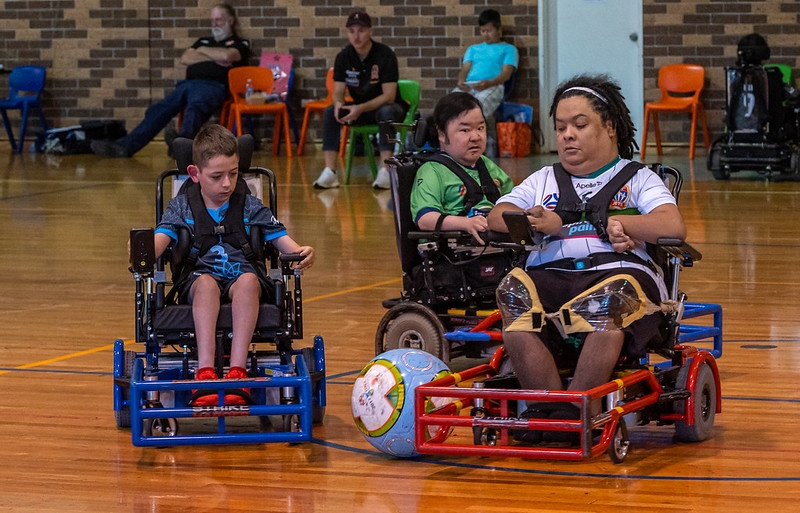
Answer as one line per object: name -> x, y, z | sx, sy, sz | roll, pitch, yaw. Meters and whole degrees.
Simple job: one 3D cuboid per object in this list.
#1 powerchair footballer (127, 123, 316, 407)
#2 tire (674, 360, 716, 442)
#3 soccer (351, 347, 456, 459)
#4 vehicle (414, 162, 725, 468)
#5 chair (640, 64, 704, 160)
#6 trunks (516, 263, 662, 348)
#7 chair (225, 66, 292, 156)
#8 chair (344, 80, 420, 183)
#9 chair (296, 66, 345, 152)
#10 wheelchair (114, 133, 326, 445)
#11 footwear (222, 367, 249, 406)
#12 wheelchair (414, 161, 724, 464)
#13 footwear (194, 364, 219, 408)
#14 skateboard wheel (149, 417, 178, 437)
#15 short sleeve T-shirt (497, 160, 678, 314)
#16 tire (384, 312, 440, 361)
powerchair footballer -> -0.894, 0.010, 5.403 | 0.914, 1.256, 0.802 | -1, 3, -17
tire -> 1.430, 0.702, 5.205 | 0.140, 0.398, 0.456 | -1, -10, 30
soccer -> 0.019, 0.711, 5.009 | 0.340, 0.302, 0.369 | 31, -51, -23
vehicle -> 0.890, 0.427, 5.460 | 1.181, 1.175, 1.701 | -2, -2, 27
chair -> 3.643, -1.936, 14.061 | 0.954, 1.078, 0.891 | -17, 19, -37
trunks -> 0.886, 0.221, 5.027 | 0.821, 0.481, 0.345 | -1, 2, 12
chair -> -2.036, -2.028, 14.838 | 0.885, 1.126, 0.798 | -3, 17, 7
chair -> -0.417, -1.497, 12.778 | 0.768, 0.842, 0.753 | 24, 15, 38
chair -> -1.257, -2.088, 15.169 | 0.843, 0.964, 0.757 | -9, 17, 0
wheelchair -> -0.928, 0.116, 5.426 | 1.064, 1.596, 0.953 | -1, 2, -3
footwear -> -0.796, 0.623, 5.193 | 0.117, 0.169, 0.321 | -1, 2, -8
wheelchair -> 0.833, 0.370, 5.089 | 1.019, 1.048, 1.560 | -1, 6, 31
footwear -> -0.943, 0.626, 5.148 | 0.127, 0.174, 0.261 | -1, 2, -10
skateboard wheel -> -1.152, 0.830, 5.197 | 0.157, 0.128, 0.054 | 0, 5, -17
short sleeve T-shirt -> 0.937, -0.209, 5.477 | 0.983, 0.764, 0.558 | -3, 5, 13
tire -> 0.077, 0.434, 5.773 | 0.273, 0.230, 0.092 | 3, 12, 26
